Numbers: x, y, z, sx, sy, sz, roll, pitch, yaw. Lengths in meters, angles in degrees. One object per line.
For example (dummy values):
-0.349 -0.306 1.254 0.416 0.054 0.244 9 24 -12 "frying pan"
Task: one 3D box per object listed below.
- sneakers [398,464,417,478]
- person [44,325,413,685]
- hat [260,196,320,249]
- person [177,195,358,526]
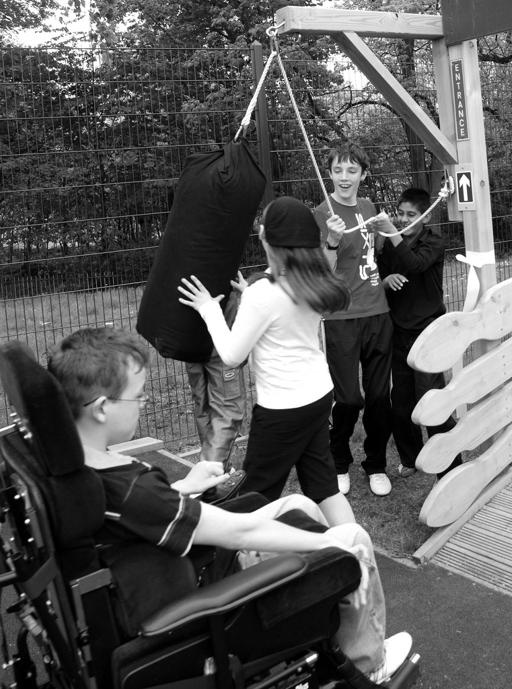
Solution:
1.047 0.874 3.905 0.109 0.113 0.072 -8 -9 4 "sneakers"
-0.092 0.141 1.810 1.050 1.284 0.644 -18 25 -26 "person"
0.138 -0.480 2.281 0.225 0.221 0.168 -7 10 5 "hat"
0.095 0.222 2.559 0.830 1.665 0.651 2 13 14 "person"
